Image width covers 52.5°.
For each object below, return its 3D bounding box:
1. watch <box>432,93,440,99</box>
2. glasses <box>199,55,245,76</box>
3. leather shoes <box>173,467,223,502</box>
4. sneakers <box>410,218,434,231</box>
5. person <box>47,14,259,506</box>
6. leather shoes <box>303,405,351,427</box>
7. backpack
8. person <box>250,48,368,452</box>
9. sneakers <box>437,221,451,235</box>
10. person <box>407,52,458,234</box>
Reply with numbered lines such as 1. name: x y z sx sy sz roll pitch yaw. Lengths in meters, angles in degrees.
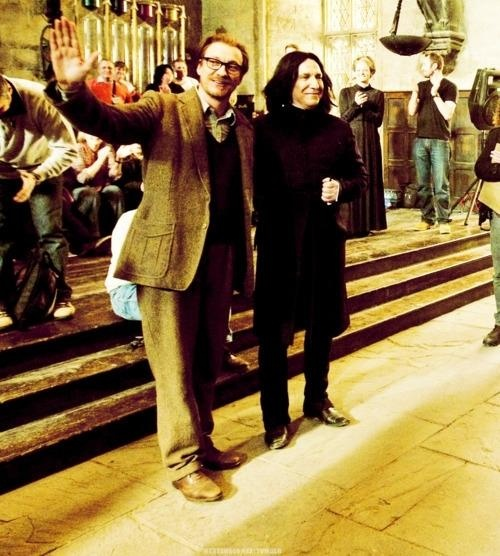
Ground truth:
1. watch: 2.494 -2.463 6.814 0.097 0.080 0.083 4 13 17
2. glasses: -0.100 -0.775 1.857 0.141 0.065 0.072 -1 13 -2
3. leather shoes: -0.222 0.827 2.076 0.207 0.083 0.111 -1 6 36
4. sneakers: 2.475 -0.765 7.247 0.359 0.154 0.140 0 0 -43
5. person: -0.264 0.054 1.871 0.352 1.850 0.965 4 13 20
6. leather shoes: 0.445 0.764 2.880 0.280 0.116 0.106 -4 0 38
7. backpack: -1.335 0.036 3.080 0.264 0.456 0.163 -7 7 -29
8. person: 0.295 -0.102 2.531 0.528 1.922 0.399 1 12 7
9. sneakers: 2.650 -0.684 6.902 0.163 0.136 0.288 4 14 20
10. person: 2.489 -1.842 6.968 0.622 2.303 0.472 5 13 23
